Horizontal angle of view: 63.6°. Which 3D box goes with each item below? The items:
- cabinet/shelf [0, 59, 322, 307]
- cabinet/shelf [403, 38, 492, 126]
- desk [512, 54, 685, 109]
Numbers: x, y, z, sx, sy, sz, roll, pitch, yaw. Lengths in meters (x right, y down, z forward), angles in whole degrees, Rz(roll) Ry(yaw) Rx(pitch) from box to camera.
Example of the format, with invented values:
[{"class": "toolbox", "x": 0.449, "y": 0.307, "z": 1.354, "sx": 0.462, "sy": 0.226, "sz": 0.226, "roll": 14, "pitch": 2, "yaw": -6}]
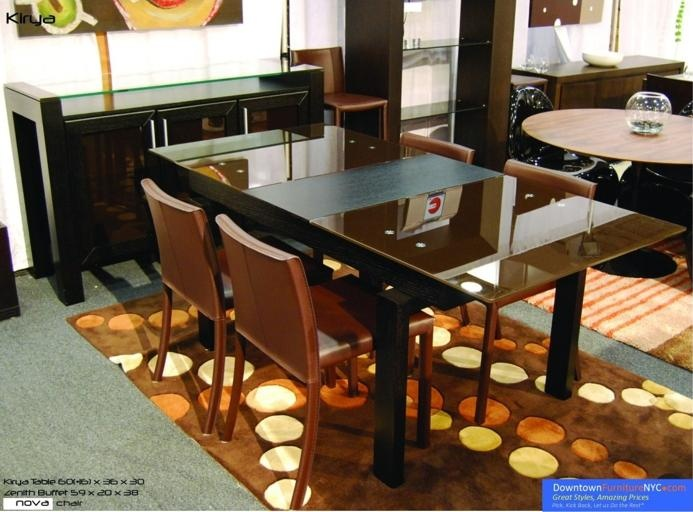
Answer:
[{"class": "cabinet/shelf", "x": -1.129, "y": -0.392, "z": 3.085, "sx": 1.549, "sy": 0.906, "sz": 0.476, "roll": -22, "pitch": 40, "yaw": -34}, {"class": "cabinet/shelf", "x": 0.943, "y": -1.653, "z": 5.258, "sx": 0.755, "sy": 0.567, "sz": 0.322, "roll": -16, "pitch": 32, "yaw": -30}, {"class": "desk", "x": 2.342, "y": -1.677, "z": 5.374, "sx": 1.296, "sy": 0.654, "sz": 0.366, "roll": -19, "pitch": 40, "yaw": -24}]
